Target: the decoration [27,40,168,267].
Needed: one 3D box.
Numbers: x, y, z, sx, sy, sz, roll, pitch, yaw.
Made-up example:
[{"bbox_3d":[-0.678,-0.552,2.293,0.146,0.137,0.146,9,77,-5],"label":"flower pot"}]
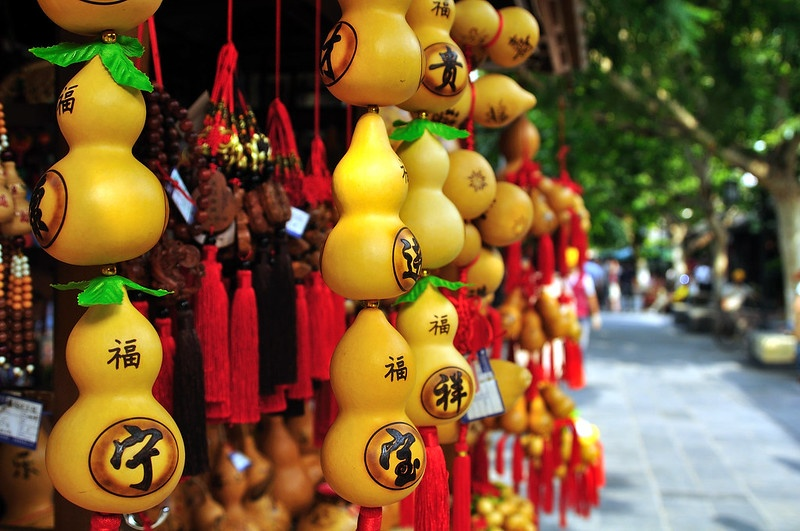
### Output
[{"bbox_3d":[-0.949,-0.369,2.563,0.390,0.737,0.202,1,3,11],"label":"decoration"}]
